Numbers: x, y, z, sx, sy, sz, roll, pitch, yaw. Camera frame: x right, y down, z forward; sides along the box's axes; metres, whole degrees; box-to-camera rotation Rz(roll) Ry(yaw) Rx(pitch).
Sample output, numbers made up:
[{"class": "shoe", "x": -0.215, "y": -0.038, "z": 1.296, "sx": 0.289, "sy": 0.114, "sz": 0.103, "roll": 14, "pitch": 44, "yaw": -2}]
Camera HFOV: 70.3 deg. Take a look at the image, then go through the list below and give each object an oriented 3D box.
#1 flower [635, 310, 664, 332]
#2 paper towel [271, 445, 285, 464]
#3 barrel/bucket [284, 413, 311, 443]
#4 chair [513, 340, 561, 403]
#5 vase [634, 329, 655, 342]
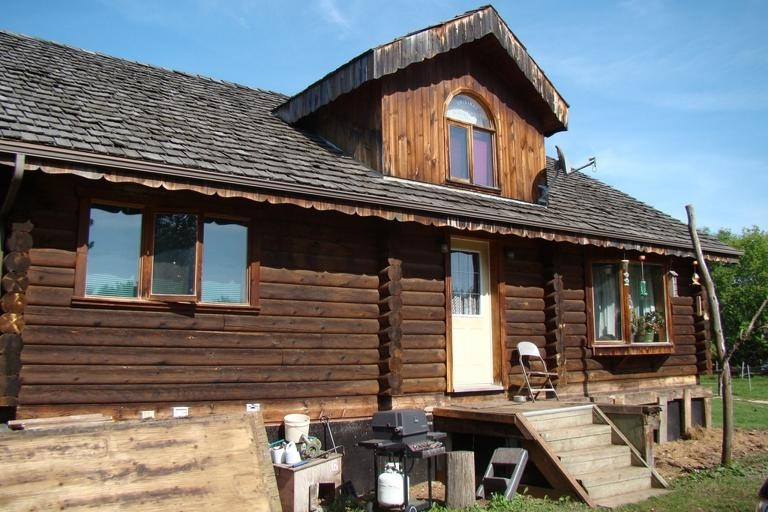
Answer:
[{"class": "flower", "x": 6.801, "y": 1.611, "z": 14.120, "sx": 0.596, "sy": 0.442, "sz": 0.567, "roll": 8, "pitch": 1, "yaw": 22}, {"class": "paper towel", "x": -1.808, "y": 3.362, "z": 9.257, "sx": 0.234, "sy": 0.263, "sz": 0.222, "roll": -6, "pitch": -12, "yaw": 25}, {"class": "barrel/bucket", "x": -1.515, "y": 2.992, "z": 9.529, "sx": 0.408, "sy": 0.327, "sz": 0.411, "roll": 1, "pitch": -5, "yaw": 0}, {"class": "chair", "x": 3.363, "y": 2.587, "z": 12.128, "sx": 0.682, "sy": 1.227, "sz": 0.851, "roll": 2, "pitch": -4, "yaw": -14}, {"class": "vase", "x": 6.687, "y": 2.052, "z": 14.034, "sx": 0.549, "sy": 0.324, "sz": 0.162, "roll": 1, "pitch": -11, "yaw": -13}]
